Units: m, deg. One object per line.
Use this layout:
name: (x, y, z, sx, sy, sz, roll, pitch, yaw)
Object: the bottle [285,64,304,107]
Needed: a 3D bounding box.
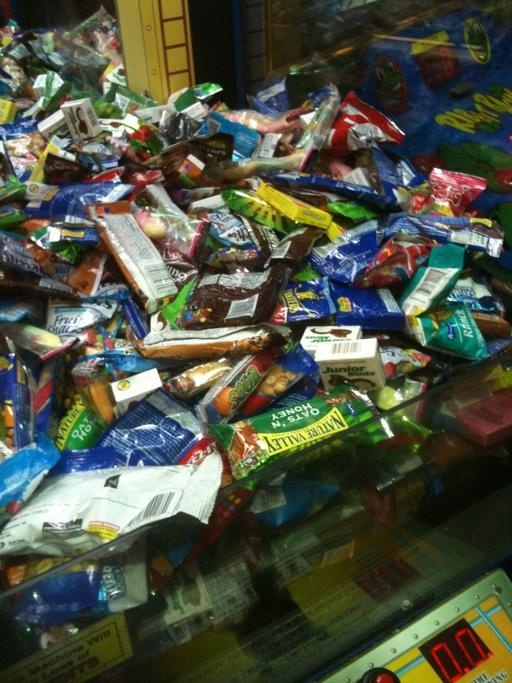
bottle: (0.115, -0.750, 1.597, 0.054, 0.109, 0.158, -7, 27, 6)
